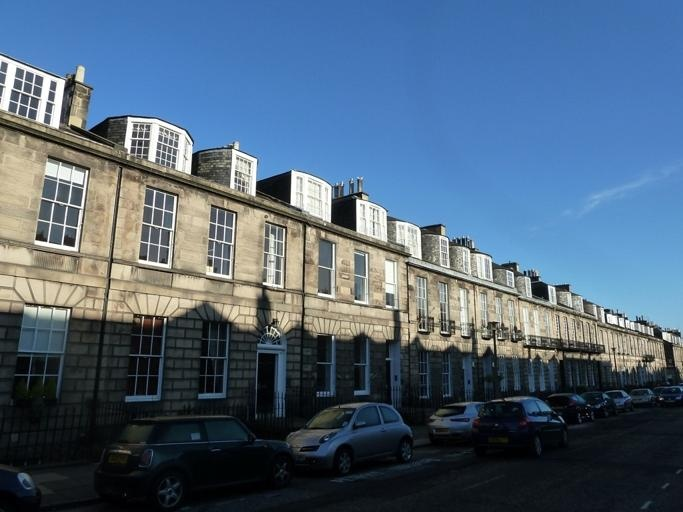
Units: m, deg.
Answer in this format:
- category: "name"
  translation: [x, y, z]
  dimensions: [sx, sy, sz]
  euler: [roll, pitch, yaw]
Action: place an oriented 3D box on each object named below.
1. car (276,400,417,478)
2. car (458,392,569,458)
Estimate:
- category: "car"
  translation: [0.098, 5.439, 16.022]
  dimensions: [3.306, 1.449, 1.913]
  euler: [17, -27, -42]
- category: "car"
  translation: [6.033, 5.784, 18.079]
  dimensions: [3.147, 1.902, 1.696]
  euler: [4, -6, -35]
